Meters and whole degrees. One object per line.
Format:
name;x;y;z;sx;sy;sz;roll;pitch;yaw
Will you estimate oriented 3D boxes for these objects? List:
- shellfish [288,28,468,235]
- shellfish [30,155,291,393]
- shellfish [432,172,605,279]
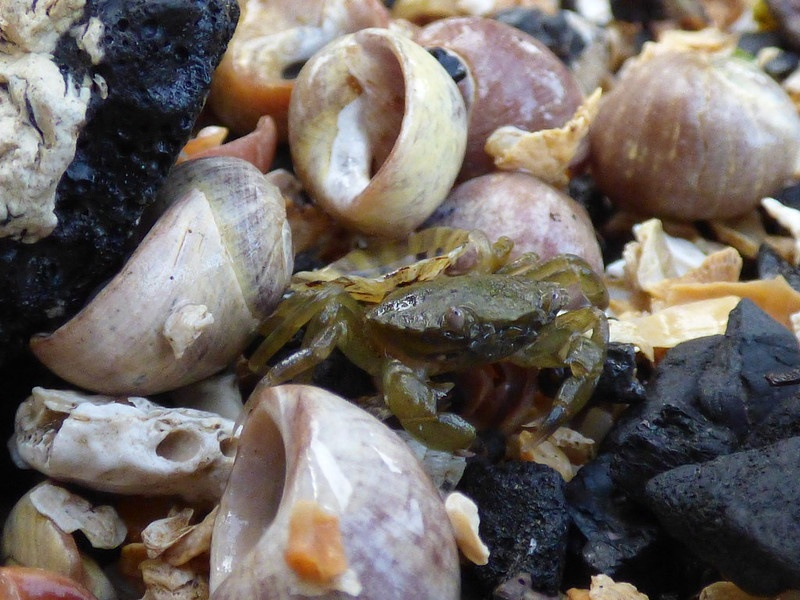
shellfish;-0.061;-0.364;2.723;0.398;0.299;0.359;13;61;2
shellfish;-0.421;-0.025;2.527;0.500;0.401;0.253;-39;58;-3
shellfish;0.270;-0.194;2.827;0.176;0.301;0.251;-51;24;4
